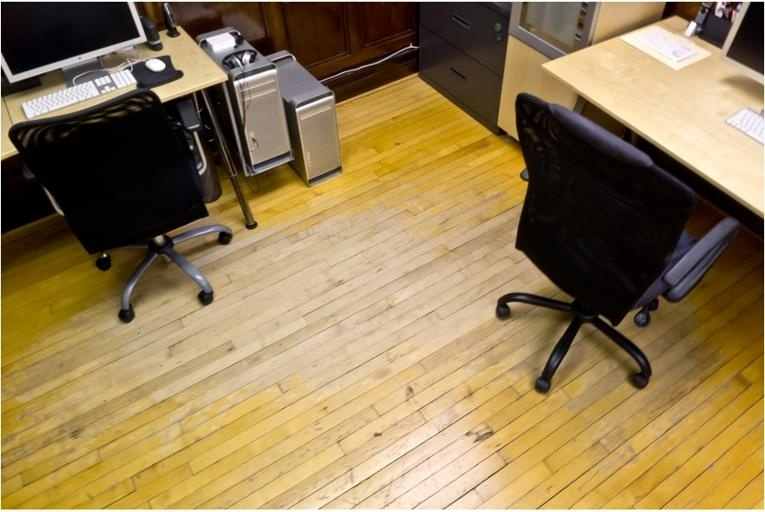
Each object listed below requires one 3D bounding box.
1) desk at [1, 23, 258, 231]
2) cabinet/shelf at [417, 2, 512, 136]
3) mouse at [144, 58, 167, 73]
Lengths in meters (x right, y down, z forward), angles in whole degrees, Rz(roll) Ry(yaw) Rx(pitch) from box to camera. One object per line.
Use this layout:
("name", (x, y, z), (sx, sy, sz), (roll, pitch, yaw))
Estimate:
("desk", (-1.377, -0.609, 3.380), (1.367, 0.944, 0.960), (-26, 59, -9))
("cabinet/shelf", (0.605, -1.335, 3.797), (0.461, 0.714, 0.775), (-32, 60, -21))
("mouse", (-1.256, -1.054, 2.943), (0.108, 0.026, 0.079), (-12, 69, -17))
